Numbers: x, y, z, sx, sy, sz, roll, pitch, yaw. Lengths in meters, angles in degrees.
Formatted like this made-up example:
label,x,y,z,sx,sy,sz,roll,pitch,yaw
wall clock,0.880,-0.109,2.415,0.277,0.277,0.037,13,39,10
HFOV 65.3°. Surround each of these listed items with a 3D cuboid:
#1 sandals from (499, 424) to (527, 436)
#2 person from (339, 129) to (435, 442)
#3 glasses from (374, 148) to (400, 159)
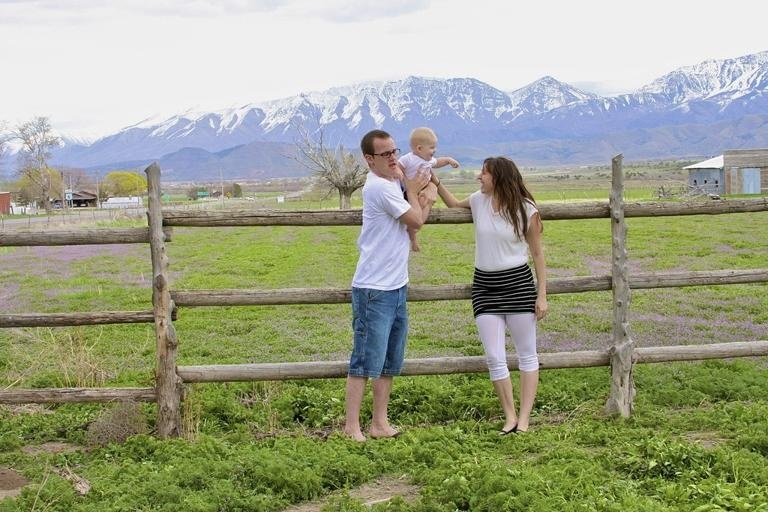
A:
label,x,y,z,sx,sy,sz,roll,pitch,yaw
sandals,1.531,2.039,7.056,0.448,0.050,0.095,-1,1,-36
person,-0.009,0.352,6.999,1.083,3.548,0.458,-6,10,-29
glasses,0.061,-1.159,6.826,0.332,0.100,0.148,-7,10,-30
